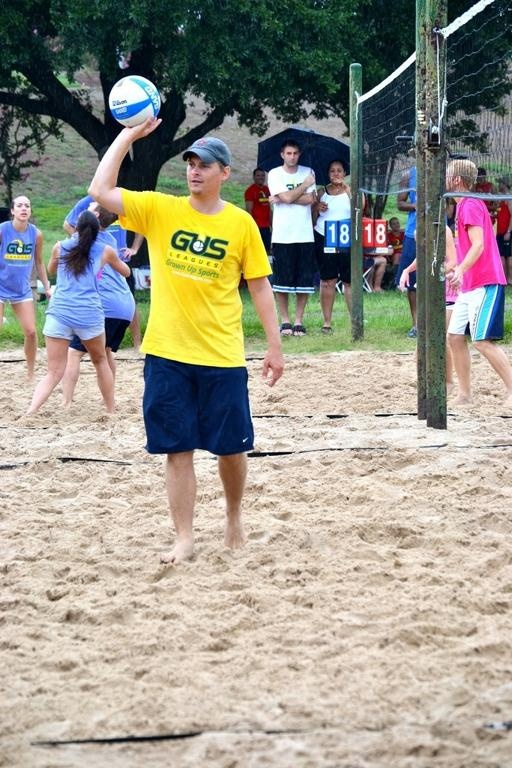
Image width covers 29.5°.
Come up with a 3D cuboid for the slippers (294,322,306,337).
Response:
[{"bbox_3d":[0.467,-0.553,10.239,0.086,0.094,0.143,1,-3,-1],"label":"slippers"}]

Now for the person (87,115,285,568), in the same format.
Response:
[{"bbox_3d":[-0.236,-0.163,3.634,0.680,1.639,0.342,-2,7,-2],"label":"person"}]

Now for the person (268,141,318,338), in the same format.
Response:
[{"bbox_3d":[0.360,-1.557,10.254,0.441,2.109,0.427,3,10,-22],"label":"person"}]

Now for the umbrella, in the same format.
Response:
[{"bbox_3d":[0.681,-3.303,13.860,1.354,0.452,1.358,12,-27,19],"label":"umbrella"}]

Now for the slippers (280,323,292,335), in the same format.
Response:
[{"bbox_3d":[0.321,-0.578,10.360,0.085,0.113,0.253,2,9,4],"label":"slippers"}]

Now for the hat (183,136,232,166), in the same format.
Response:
[{"bbox_3d":[-0.165,-0.851,3.535,0.105,0.077,0.151,13,-1,35],"label":"hat"}]

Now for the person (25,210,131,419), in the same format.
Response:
[{"bbox_3d":[-1.160,-0.430,6.336,0.677,1.276,0.410,-1,2,-26],"label":"person"}]

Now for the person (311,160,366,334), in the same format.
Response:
[{"bbox_3d":[0.820,-1.490,10.405,0.621,1.874,0.568,4,-4,-29],"label":"person"}]
